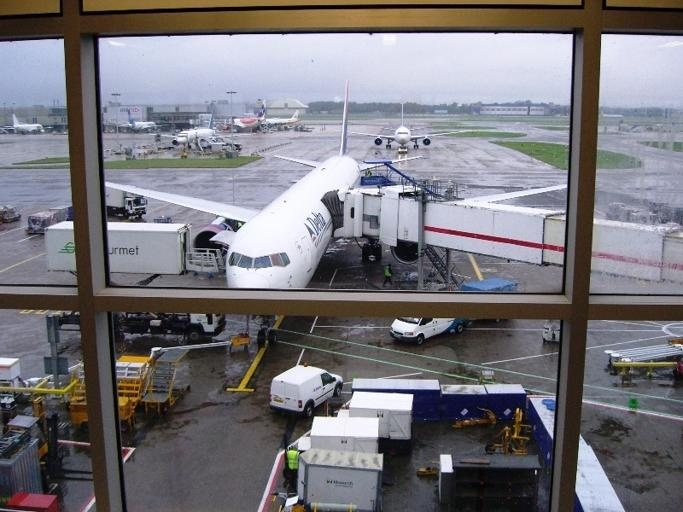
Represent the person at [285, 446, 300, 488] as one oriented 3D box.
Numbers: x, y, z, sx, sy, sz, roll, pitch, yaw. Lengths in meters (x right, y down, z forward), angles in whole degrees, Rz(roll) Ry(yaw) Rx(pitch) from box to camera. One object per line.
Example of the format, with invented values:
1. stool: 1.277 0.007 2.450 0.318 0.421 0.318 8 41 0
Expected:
1. person: -0.856 3.692 11.214 0.229 0.681 0.575 -2 7 -10
